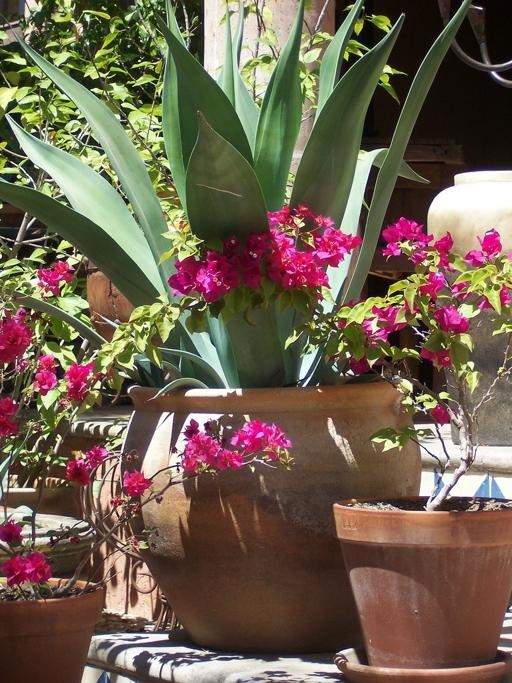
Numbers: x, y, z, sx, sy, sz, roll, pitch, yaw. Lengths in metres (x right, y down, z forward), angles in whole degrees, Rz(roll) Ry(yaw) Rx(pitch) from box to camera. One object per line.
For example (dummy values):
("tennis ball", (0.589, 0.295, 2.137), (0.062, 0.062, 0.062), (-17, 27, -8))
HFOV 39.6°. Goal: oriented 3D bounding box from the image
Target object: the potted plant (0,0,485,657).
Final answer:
("potted plant", (-0.122, 0.037, 1.567), (1.151, 1.071, 0.968), (-3, -2, 15))
